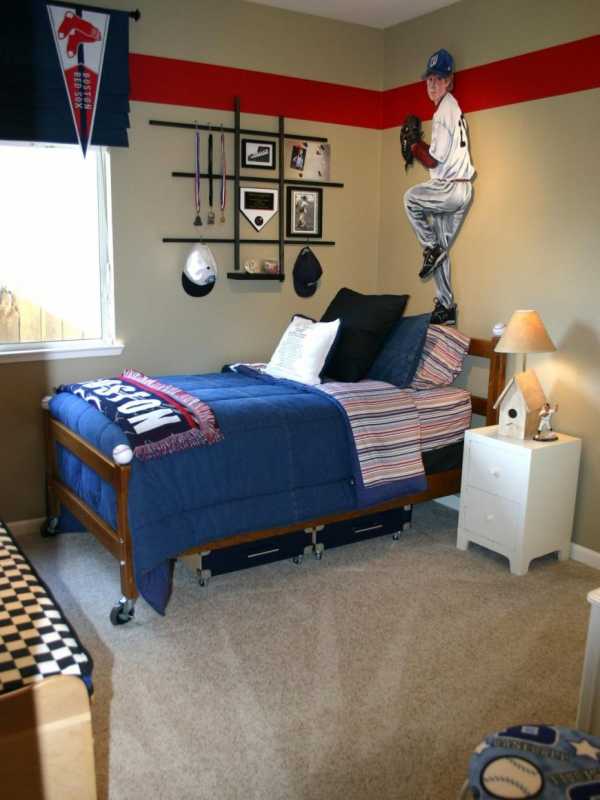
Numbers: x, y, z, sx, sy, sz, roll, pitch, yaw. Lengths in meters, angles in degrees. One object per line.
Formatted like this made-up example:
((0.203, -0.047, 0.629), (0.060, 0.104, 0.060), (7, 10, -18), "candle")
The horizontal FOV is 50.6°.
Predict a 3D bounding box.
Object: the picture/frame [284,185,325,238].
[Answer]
((0.021, -1.177, 3.931), (0.315, 0.365, 0.027), (-6, 12, -35), "picture/frame")

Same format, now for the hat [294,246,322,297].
((0.058, -0.798, 3.945), (0.179, 0.304, 0.087), (-6, 15, -28), "hat")

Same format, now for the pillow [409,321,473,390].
((0.764, -0.226, 3.425), (0.322, 0.341, 0.114), (16, -4, 17), "pillow")

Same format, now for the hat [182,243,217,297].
((-0.558, -0.729, 3.552), (0.199, 0.272, 0.081), (16, 19, 25), "hat")

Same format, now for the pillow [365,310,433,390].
((0.555, -0.282, 3.369), (0.113, 0.377, 0.388), (22, 0, -30), "pillow")

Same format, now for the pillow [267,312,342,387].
((0.064, -0.249, 3.265), (0.108, 0.355, 0.362), (31, -12, -35), "pillow")

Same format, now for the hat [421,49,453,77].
((0.768, -1.811, 3.492), (0.116, 0.173, 0.101), (34, -16, 31), "hat")

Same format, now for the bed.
((-0.036, 0.342, 3.180), (2.002, 1.133, 1.200), (-7, 13, -26), "bed")

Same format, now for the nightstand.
((1.001, 0.407, 3.280), (0.578, 0.883, 0.598), (-3, 11, -31), "nightstand")

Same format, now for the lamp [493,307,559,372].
((1.019, -0.275, 2.949), (0.244, 0.376, 0.248), (-2, 8, -2), "lamp")

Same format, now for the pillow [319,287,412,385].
((0.427, -0.265, 3.476), (0.149, 0.499, 0.517), (30, 0, -33), "pillow")
